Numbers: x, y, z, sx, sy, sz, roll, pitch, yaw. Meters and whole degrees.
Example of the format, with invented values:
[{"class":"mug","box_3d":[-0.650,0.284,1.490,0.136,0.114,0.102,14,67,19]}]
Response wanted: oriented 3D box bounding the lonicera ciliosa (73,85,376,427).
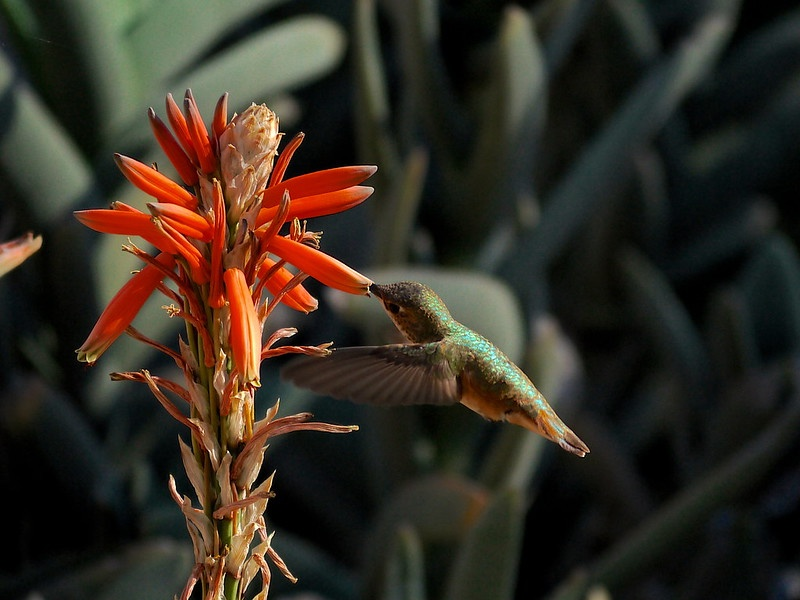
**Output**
[{"class":"lonicera ciliosa","box_3d":[-0.225,-0.081,1.390,0.396,0.356,0.221,-5,23,11]}]
